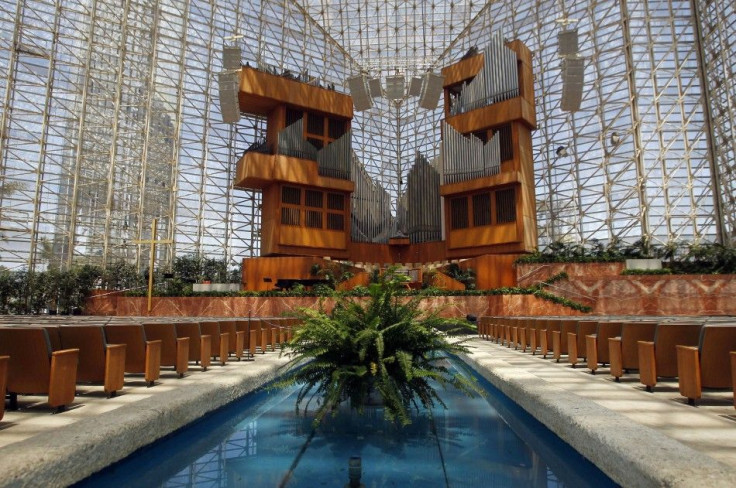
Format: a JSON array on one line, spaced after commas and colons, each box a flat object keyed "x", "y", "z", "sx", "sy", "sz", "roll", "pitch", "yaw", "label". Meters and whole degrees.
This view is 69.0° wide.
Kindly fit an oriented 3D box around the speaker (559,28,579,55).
[{"x": 8.846, "y": -8.901, "z": 23.605, "sx": 0.900, "sy": 1.191, "sz": 1.208, "roll": 0, "pitch": 4, "yaw": 32, "label": "speaker"}]

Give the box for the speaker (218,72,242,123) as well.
[{"x": -6.682, "y": -7.214, "z": 25.981, "sx": 1.058, "sy": 2.526, "sz": 2.014, "roll": 0, "pitch": 36, "yaw": -3, "label": "speaker"}]

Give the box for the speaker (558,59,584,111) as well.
[{"x": 9.199, "y": -7.397, "z": 24.018, "sx": 0.978, "sy": 2.186, "sz": 1.982, "roll": -3, "pitch": -6, "yaw": 20, "label": "speaker"}]

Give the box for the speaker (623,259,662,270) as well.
[{"x": 10.284, "y": 0.760, "z": 19.897, "sx": 0.933, "sy": 0.492, "sz": 0.625, "roll": 0, "pitch": -9, "yaw": 29, "label": "speaker"}]

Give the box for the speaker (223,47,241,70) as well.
[{"x": -6.366, "y": -8.718, "z": 24.998, "sx": 0.859, "sy": 1.145, "sz": 1.028, "roll": -1, "pitch": 5, "yaw": -7, "label": "speaker"}]
